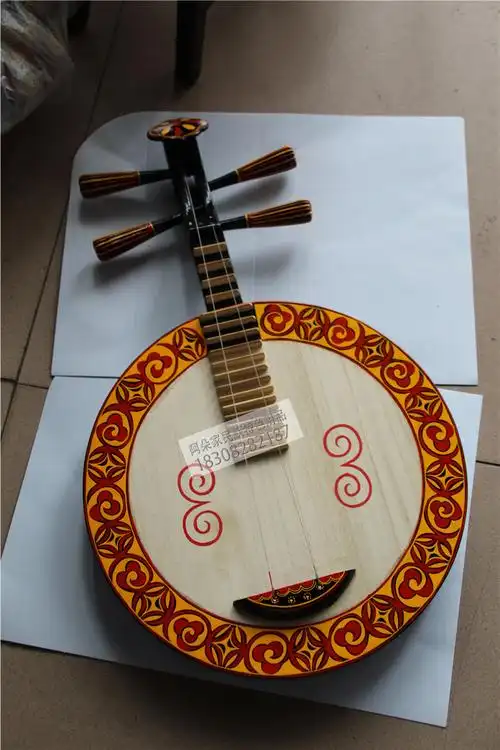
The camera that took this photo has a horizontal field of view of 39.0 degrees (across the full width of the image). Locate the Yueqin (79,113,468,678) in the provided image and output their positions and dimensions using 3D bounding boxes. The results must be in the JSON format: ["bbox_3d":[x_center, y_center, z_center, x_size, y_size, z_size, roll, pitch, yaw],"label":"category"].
[{"bbox_3d":[0.042,0.166,1.204,0.646,0.099,0.634,-26,65,-6],"label":"Yueqin"}]
